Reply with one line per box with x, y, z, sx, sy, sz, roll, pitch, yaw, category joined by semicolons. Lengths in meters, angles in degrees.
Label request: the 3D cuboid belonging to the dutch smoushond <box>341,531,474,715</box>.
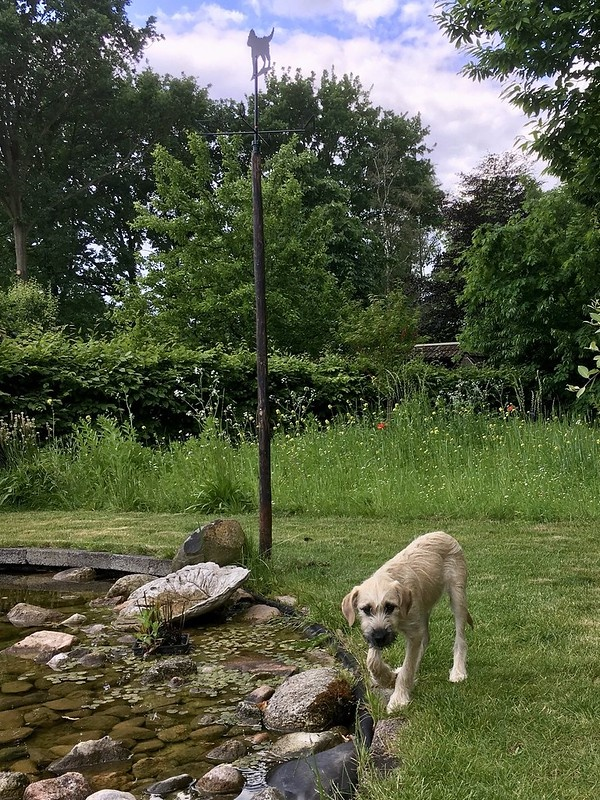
0.449;0.859;3.531;0.281;0.578;1.053;-2;-3;29;dutch smoushond
